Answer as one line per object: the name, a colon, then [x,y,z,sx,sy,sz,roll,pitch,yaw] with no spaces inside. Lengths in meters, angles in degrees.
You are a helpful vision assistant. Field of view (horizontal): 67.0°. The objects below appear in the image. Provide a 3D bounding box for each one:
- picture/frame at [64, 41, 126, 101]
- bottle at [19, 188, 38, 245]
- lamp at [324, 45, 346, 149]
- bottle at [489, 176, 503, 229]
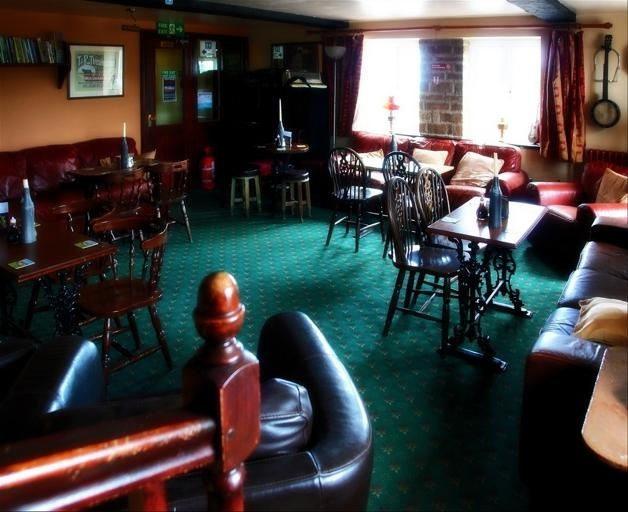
picture/frame: [-3.081,-2.572,6.570,0.033,0.656,0.838,13,23,35]
bottle: [-1.888,-0.272,3.108,0.096,0.359,0.329,-5,11,-30]
lamp: [0.347,-2.561,7.594,0.333,1.607,0.748,0,9,3]
bottle: [1.295,-0.379,3.345,0.090,0.360,0.252,3,10,22]
